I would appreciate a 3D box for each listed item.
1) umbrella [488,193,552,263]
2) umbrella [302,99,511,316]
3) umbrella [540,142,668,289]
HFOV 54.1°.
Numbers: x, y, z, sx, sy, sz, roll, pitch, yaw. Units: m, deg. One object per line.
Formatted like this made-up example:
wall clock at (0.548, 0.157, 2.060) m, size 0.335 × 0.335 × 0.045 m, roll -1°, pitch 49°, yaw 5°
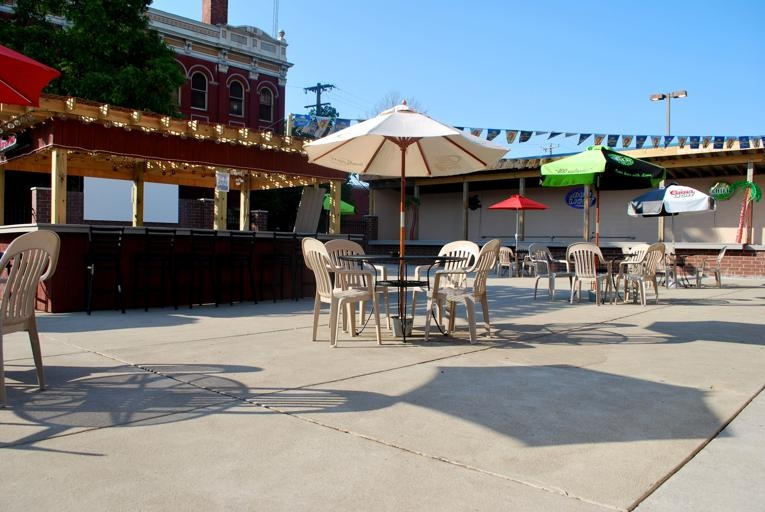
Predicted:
umbrella at (3.711, -1.176, 20.650) m, size 0.932 × 1.066 × 0.934 m, roll 26°, pitch 20°, yaw 32°
umbrella at (0.238, -0.595, 9.689) m, size 2.365 × 2.267 × 2.310 m, roll 2°, pitch 0°, yaw -22°
umbrella at (3.694, -0.796, 12.838) m, size 1.602 × 1.451 × 1.734 m, roll -7°, pitch -23°, yaw 17°
